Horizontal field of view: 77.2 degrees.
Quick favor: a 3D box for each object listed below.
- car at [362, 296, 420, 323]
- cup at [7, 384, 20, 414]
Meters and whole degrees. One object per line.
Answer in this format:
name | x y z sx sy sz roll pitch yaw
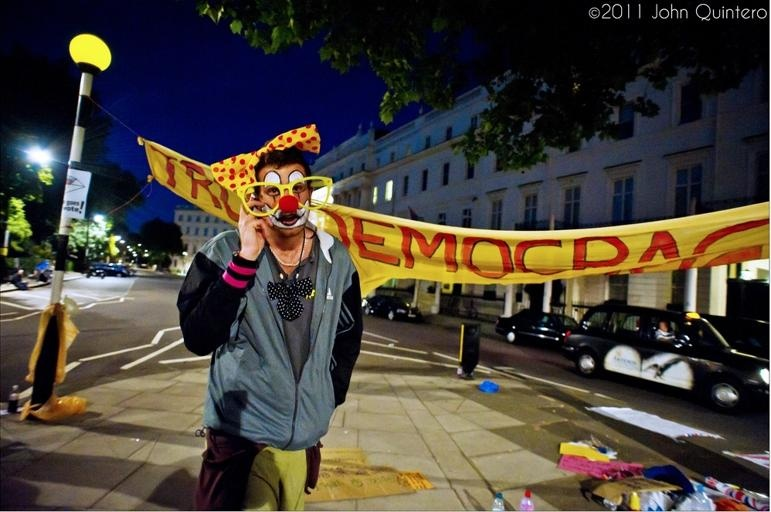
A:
car | 0.428 2.855 26.388 1.322 0.951 2.884 3 -7 -36
cup | -6.650 2.546 8.584 0.225 0.464 0.111 -2 -4 38
